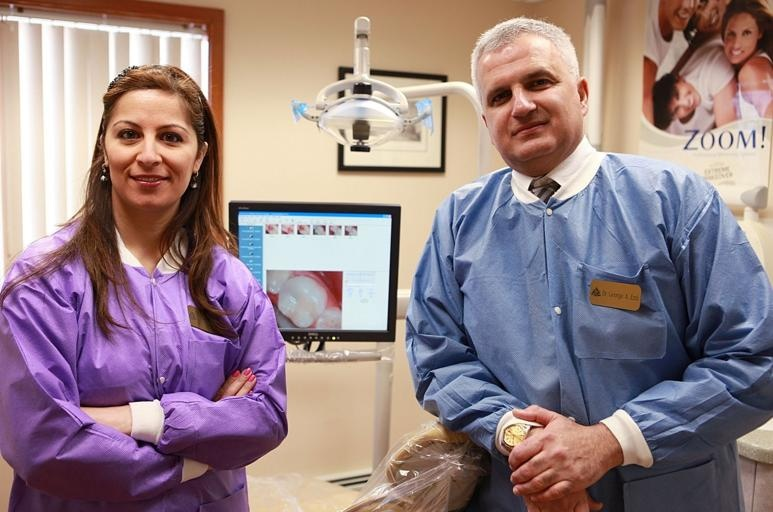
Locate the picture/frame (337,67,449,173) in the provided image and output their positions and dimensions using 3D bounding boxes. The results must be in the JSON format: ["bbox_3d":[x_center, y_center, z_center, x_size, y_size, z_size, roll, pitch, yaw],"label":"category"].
[{"bbox_3d":[0.015,-0.667,3.045,0.731,0.597,0.016,-1,8,-20],"label":"picture/frame"}]

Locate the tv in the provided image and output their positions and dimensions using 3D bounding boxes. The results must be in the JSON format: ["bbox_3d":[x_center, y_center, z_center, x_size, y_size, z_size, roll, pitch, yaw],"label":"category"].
[{"bbox_3d":[-0.314,0.049,2.592,0.595,0.484,0.063,0,3,-5],"label":"tv"}]

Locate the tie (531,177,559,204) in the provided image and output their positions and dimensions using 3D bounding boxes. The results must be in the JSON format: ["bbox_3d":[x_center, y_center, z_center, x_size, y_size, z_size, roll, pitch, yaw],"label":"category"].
[{"bbox_3d":[0.480,-0.198,1.909,0.075,0.077,0.025,-49,-24,20],"label":"tie"}]

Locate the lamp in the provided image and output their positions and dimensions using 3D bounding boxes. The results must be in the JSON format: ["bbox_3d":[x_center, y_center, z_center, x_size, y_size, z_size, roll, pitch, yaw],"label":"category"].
[{"bbox_3d":[-0.077,-0.672,2.535,0.851,0.551,0.429,2,5,28],"label":"lamp"}]
